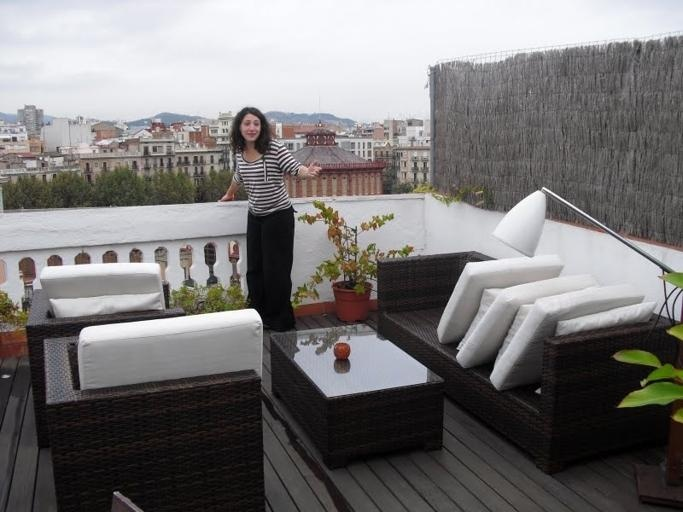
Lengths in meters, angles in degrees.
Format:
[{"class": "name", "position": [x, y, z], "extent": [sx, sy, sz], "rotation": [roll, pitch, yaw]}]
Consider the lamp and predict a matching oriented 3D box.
[{"class": "lamp", "position": [1.523, -0.147, 3.175], "extent": [0.901, 0.360, 0.193], "rotation": [28, -1, 10]}]

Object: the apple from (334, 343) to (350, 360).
[{"class": "apple", "position": [0.003, 0.534, 2.930], "extent": [0.080, 0.073, 0.084], "rotation": [1, -1, 26]}]

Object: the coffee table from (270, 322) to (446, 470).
[{"class": "coffee table", "position": [0.120, 0.502, 2.638], "extent": [0.495, 0.293, 0.919], "rotation": [-3, 8, -19]}]

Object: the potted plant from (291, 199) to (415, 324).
[{"class": "potted plant", "position": [0.130, 0.001, 4.788], "extent": [0.972, 1.074, 1.067], "rotation": [-1, 3, 25]}]
